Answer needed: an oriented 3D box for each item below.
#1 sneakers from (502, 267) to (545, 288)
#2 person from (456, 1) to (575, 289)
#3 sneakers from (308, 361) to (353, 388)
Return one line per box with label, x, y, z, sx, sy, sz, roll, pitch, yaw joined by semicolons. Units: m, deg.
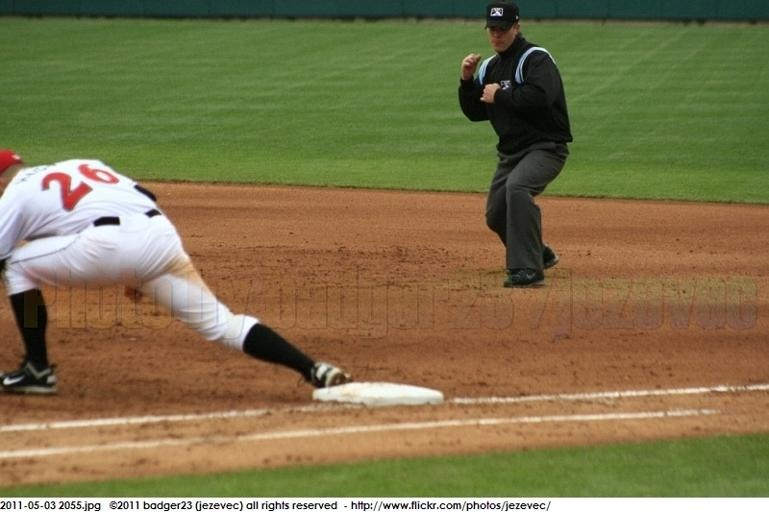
sneakers;1.830;0.279;19.991;0.569;0.210;0.218;4;11;0
person;1.798;-1.491;19.970;1.252;3.655;1.206;-7;17;-5
sneakers;-0.664;1.431;18.294;0.224;0.205;0.654;-6;11;-40
